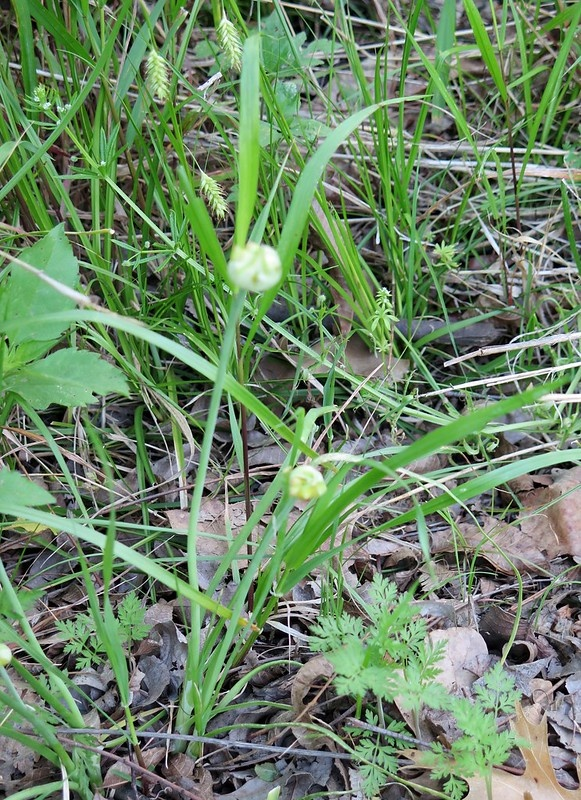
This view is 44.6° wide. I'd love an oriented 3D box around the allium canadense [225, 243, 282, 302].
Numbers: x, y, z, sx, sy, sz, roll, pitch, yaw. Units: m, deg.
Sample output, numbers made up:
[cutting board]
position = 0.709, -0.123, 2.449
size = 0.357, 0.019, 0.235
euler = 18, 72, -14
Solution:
[allium canadense]
position = -0.036, -0.139, 0.788
size = 0.061, 0.058, 0.055
euler = 2, 103, 5
